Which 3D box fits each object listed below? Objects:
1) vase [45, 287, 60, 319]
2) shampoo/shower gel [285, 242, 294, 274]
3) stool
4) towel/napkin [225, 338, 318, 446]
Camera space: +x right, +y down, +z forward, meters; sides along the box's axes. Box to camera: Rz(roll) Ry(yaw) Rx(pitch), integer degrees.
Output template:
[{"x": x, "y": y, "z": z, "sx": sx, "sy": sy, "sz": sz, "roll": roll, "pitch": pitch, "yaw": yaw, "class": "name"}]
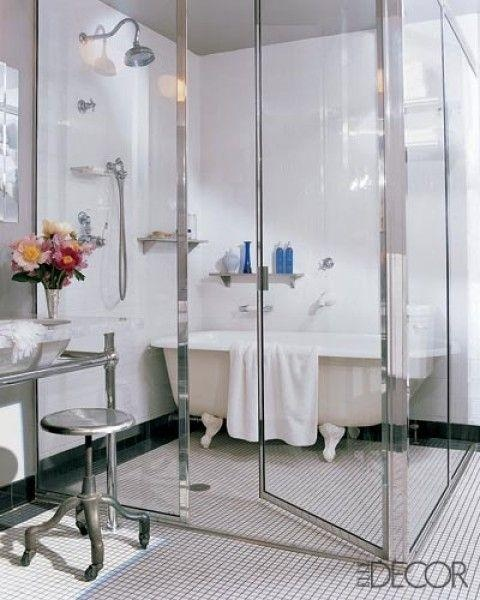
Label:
[{"x": -0.792, "y": 0.014, "z": 2.245, "sx": 0.056, "sy": 0.122, "sz": 0.318, "roll": 0, "pitch": 0, "yaw": -19, "class": "vase"}, {"x": 0.204, "y": -0.175, "z": 2.247, "sx": 0.035, "sy": 0.130, "sz": 0.101, "roll": 0, "pitch": 0, "yaw": 6, "class": "shampoo/shower gel"}, {"x": -0.591, "y": 0.688, "z": 2.066, "sx": 0.439, "sy": 0.520, "sz": 0.443, "roll": 0, "pitch": 0, "yaw": 21, "class": "stool"}, {"x": 0.153, "y": 0.437, "z": 2.588, "sx": 0.581, "sy": 0.655, "sz": 0.063, "roll": -1, "pitch": -2, "yaw": 44, "class": "towel/napkin"}]
